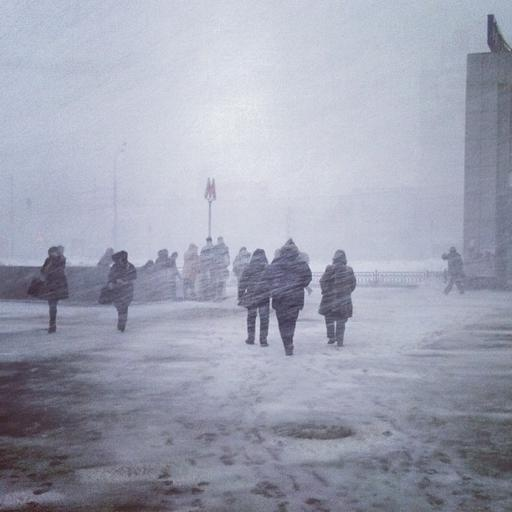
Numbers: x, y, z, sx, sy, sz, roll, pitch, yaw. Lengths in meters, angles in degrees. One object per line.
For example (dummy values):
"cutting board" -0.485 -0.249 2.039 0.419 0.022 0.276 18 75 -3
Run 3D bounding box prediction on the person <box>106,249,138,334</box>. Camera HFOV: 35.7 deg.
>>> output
"person" -2.721 0.687 15.865 0.627 1.753 0.411 -12 31 -21

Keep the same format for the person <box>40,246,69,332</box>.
"person" -4.000 0.657 15.800 0.503 1.715 1.374 -1 7 -14

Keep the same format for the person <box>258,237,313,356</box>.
"person" 0.529 0.672 13.154 0.767 1.892 1.289 1 7 1

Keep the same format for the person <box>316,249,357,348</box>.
"person" 1.424 0.744 13.936 0.631 1.669 0.829 1 7 6

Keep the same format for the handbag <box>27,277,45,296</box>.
"handbag" -4.340 0.641 15.722 0.459 0.341 0.239 6 9 36

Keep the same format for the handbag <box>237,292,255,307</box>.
"handbag" -0.179 0.750 13.907 0.261 0.282 0.459 0 7 -4
